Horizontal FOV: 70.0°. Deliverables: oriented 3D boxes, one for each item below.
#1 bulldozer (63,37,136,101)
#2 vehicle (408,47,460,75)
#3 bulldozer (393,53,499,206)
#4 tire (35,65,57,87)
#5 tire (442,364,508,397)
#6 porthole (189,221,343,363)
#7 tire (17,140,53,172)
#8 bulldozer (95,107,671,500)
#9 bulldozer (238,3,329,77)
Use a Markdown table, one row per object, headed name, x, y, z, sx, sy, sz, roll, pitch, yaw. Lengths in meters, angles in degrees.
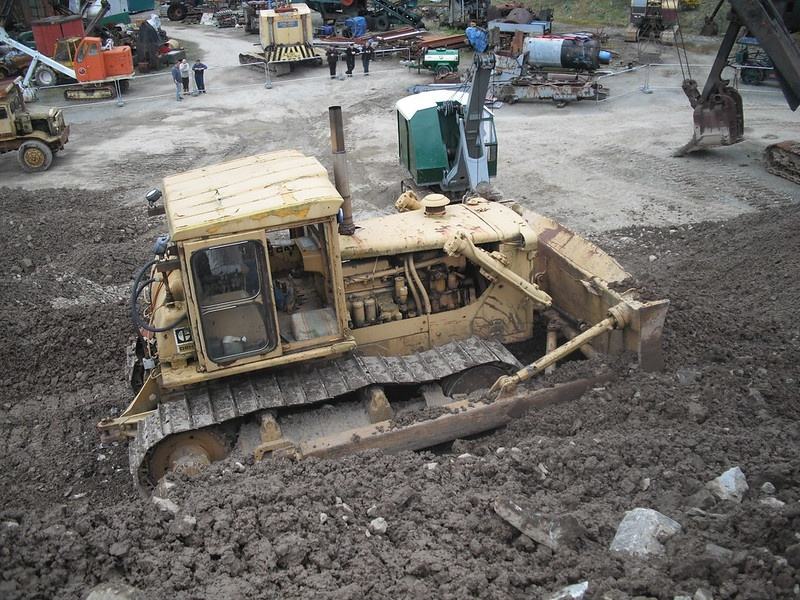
| name | x | y | z | sx | sy | sz | roll | pitch | yaw |
| --- | --- | --- | --- | --- | --- | --- | --- | --- | --- |
| bulldozer | -13.085 | -9.998 | 24.290 | 2.639 | 2.398 | 2.015 | -9 | 40 | -24 |
| vehicle | 1.561 | -10.361 | 25.582 | 2.285 | 1.242 | 1.422 | 0 | 37 | 2 |
| bulldozer | 1.363 | -4.368 | 14.247 | 2.254 | 3.566 | 3.793 | -10 | 30 | -17 |
| tire | -16.397 | -10.234 | 26.197 | 0.959 | 1.014 | 0.326 | -4 | 6 | 0 |
| tire | 0.976 | 1.069 | 7.591 | 0.545 | 0.173 | 0.563 | -11 | -13 | -3 |
| porthole | -1.560 | -0.136 | 6.724 | 1.679 | 1.574 | 0.578 | -12 | 24 | -20 |
| tire | -11.125 | -4.353 | 17.287 | 0.894 | 0.939 | 0.340 | 1 | 20 | -16 |
| bulldozer | -0.706 | 0.331 | 8.192 | 7.210 | 4.150 | 4.286 | -12 | 41 | -12 |
| bulldozer | -5.353 | -12.265 | 27.111 | 3.552 | 2.956 | 2.996 | -10 | 27 | -15 |
